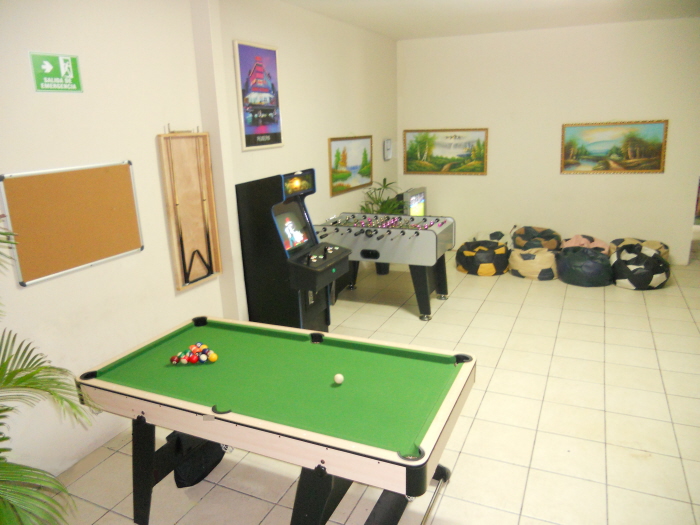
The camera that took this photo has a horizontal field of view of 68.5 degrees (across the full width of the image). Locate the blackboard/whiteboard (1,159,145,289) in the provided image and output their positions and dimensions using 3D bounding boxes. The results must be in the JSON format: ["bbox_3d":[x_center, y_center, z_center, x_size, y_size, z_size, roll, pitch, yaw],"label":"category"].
[{"bbox_3d":[-2.076,-0.292,3.767,0.060,0.679,0.886,7,19,31],"label":"blackboard/whiteboard"}]

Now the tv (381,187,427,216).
[{"bbox_3d":[0.846,-0.867,7.927,0.424,0.457,1.286,5,19,20],"label":"tv"}]

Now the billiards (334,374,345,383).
[{"bbox_3d":[-0.070,0.728,3.214,0.058,0.032,0.061,-1,-8,31],"label":"billiards"}]

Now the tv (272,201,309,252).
[{"bbox_3d":[-0.612,-0.374,5.285,0.134,0.503,0.361,-16,1,43],"label":"tv"}]
